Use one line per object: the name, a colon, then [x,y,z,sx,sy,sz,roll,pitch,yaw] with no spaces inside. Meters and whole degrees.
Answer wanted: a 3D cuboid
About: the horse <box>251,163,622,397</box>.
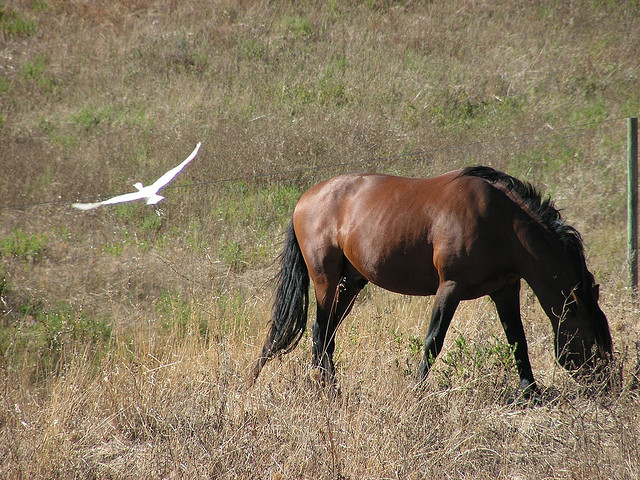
horse: [0.778,0.433,21.289,8.691,6.336,2.651,0,2,20]
